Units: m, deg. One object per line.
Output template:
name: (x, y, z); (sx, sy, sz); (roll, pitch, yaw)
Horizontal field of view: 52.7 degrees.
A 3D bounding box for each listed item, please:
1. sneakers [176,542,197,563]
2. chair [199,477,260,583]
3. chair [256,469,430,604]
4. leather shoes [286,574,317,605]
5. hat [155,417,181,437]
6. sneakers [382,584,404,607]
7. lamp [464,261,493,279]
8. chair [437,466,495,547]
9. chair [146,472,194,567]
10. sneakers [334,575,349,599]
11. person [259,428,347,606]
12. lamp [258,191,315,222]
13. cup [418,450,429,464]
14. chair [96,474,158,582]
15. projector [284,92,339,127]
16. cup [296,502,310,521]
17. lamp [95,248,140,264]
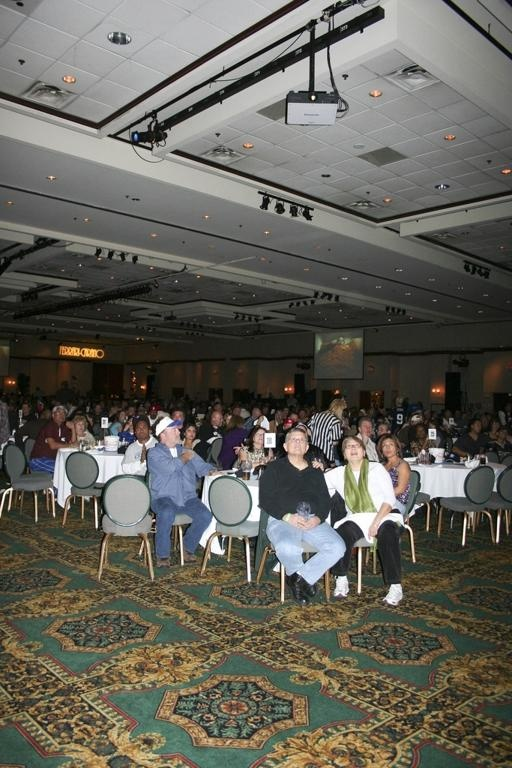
sneakers: (-0.637, 1.583, 4.787); (0.110, 0.232, 0.322); (3, -24, -11)
chair: (-0.142, 1.198, 4.438); (0.435, 0.809, 0.507); (0, -7, 26)
chair: (0.910, 1.336, 4.831); (1.459, 1.416, 1.202); (8, -33, -10)
leather shoes: (0.322, 1.470, 3.673); (0.198, 0.240, 0.128); (1, -5, 6)
hat: (-0.821, 0.383, 4.815); (0.238, 0.094, 0.151); (-21, 1, -6)
sneakers: (1.008, 1.558, 3.791); (0.083, 0.097, 0.213); (-8, -21, 22)
lamp: (5.250, -2.719, 12.327); (0.279, 0.227, 1.170); (31, 22, 37)
chair: (2.349, 1.308, 5.800); (0.485, 0.830, 0.537); (1, 0, -8)
chair: (-0.822, 1.180, 4.586); (0.437, 0.697, 0.471); (6, 3, -13)
sneakers: (0.655, 1.556, 3.946); (0.079, 0.145, 0.203); (-3, -29, 10)
person: (0.338, 0.951, 3.870); (0.617, 1.230, 0.510); (1, -5, -3)
lamp: (0.545, -2.945, 8.602); (1.250, 0.326, 0.287); (5, -7, -43)
cup: (2.118, 0.947, 6.565); (0.143, 0.187, 0.143); (0, -8, 0)
chair: (-1.131, 1.208, 4.626); (0.472, 0.866, 1.153); (2, -5, -14)
projector: (0.484, -2.410, 4.487); (0.428, 0.225, 0.325); (1, -5, 1)
cup: (0.347, 0.926, 3.730); (0.095, 0.130, 0.094); (-2, -1, 0)
lamp: (-3.076, -2.850, 11.598); (0.909, 0.241, 0.983); (2, -5, -10)
